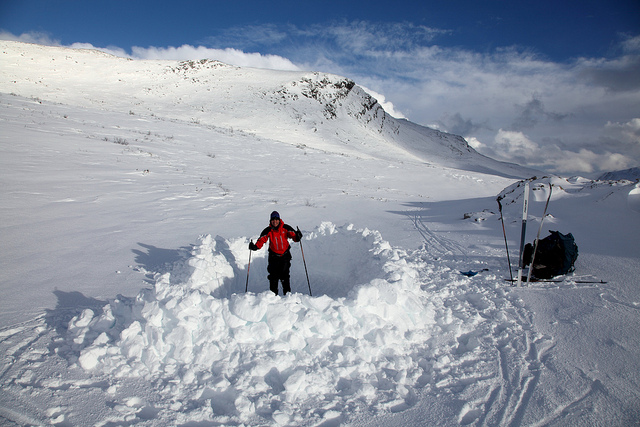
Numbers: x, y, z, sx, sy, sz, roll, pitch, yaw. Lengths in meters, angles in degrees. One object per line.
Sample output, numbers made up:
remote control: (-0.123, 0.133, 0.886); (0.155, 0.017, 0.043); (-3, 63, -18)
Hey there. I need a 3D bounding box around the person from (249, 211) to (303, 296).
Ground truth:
person: (-1.206, 1.174, 12.456); (1.129, 2.488, 1.340); (9, 16, 24)
